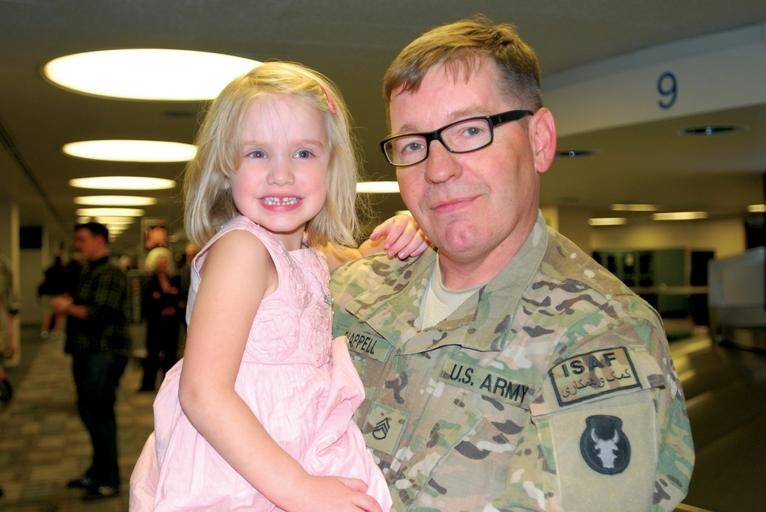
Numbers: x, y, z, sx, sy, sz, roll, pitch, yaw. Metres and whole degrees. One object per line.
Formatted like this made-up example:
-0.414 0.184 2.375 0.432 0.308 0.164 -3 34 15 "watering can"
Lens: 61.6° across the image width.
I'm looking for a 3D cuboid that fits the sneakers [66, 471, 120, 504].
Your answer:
-2.414 1.912 5.323 0.311 0.113 0.209 5 -5 7 "sneakers"
